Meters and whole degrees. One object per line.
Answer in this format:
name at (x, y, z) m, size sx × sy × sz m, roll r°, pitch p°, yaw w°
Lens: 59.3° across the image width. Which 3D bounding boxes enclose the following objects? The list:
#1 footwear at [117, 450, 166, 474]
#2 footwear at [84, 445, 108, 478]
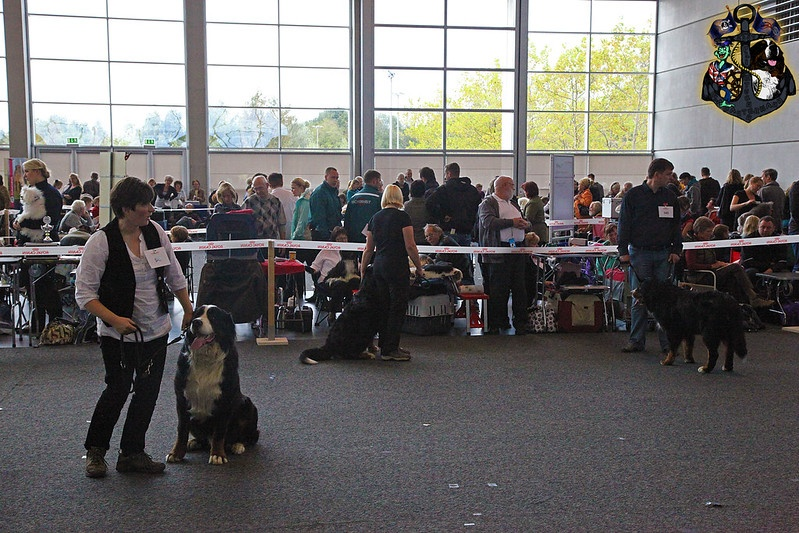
footwear at (-2.195, 1.664, 6.000) m, size 0.427 × 0.185 × 0.168 m, roll 1°, pitch -4°, yaw -4°
footwear at (-2.503, 1.638, 5.807) m, size 0.121 × 0.128 × 0.298 m, roll 2°, pitch -1°, yaw -24°
